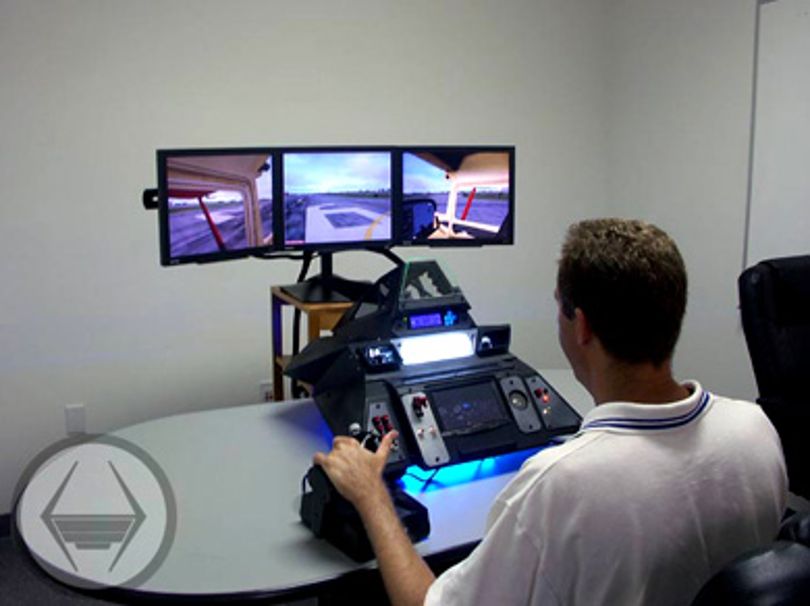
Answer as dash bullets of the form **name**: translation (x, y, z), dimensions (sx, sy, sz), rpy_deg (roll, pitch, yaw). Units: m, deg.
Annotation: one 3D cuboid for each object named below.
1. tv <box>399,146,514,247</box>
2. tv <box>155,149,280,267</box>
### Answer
- **tv**: translation (0.221, -0.488, 2.778), dimensions (0.392, 0.369, 0.148), rpy_deg (0, 5, 2)
- **tv**: translation (-0.764, -0.405, 2.556), dimensions (0.447, 0.482, 0.059), rpy_deg (-5, 11, -32)
